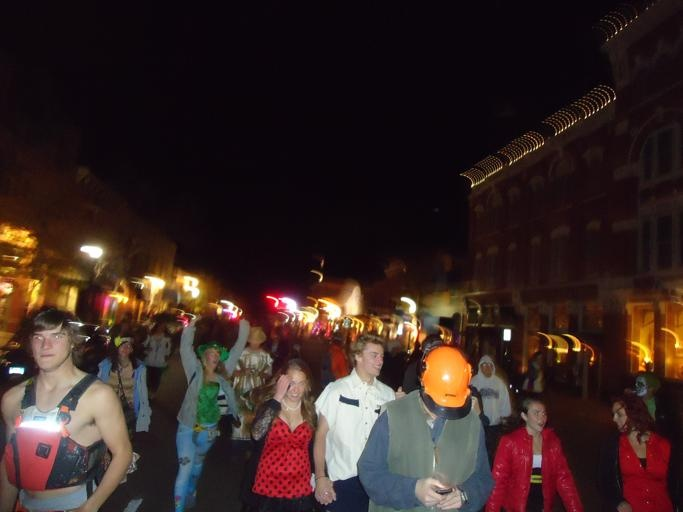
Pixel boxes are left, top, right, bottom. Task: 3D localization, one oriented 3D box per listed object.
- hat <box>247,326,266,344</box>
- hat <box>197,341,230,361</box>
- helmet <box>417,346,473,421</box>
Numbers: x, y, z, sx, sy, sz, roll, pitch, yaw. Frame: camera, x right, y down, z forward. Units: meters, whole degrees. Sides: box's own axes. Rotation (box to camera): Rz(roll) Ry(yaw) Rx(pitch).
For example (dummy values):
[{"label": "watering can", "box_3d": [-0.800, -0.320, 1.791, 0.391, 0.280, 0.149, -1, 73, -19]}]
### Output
[{"label": "hat", "box_3d": [-1.561, 1.465, 8.166, 0.303, 0.319, 0.345, 10, -14, -11]}, {"label": "hat", "box_3d": [-2.092, 1.589, 7.349, 0.386, 0.303, 0.594, 0, -17, 27]}, {"label": "helmet", "box_3d": [0.921, 1.020, 3.784, 0.476, 0.411, 0.663, 12, 24, 24]}]
